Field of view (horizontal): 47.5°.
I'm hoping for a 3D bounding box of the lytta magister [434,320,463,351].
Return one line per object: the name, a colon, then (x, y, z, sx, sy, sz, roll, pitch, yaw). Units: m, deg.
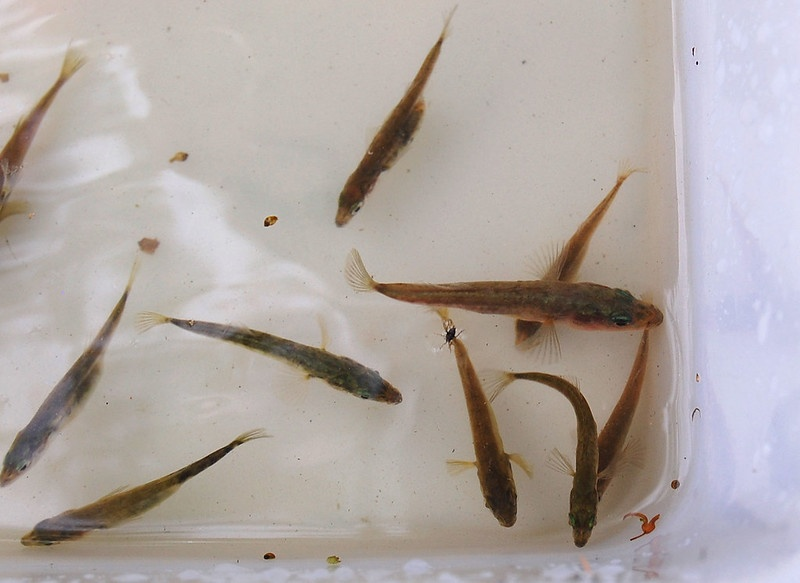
lytta magister: (0.251, 0.227, 4.661, 0.120, 0.035, 0.135, 26, 87, 18)
